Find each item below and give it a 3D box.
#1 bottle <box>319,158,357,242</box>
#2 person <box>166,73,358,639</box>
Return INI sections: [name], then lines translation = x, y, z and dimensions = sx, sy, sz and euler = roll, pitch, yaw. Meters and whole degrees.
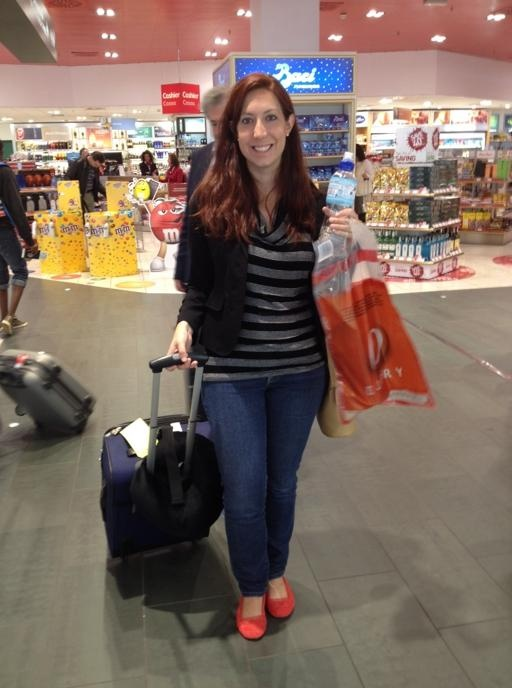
[bottle]
translation = 0.207, -0.383, 1.187
dimensions = 0.078, 0.227, 0.220
euler = 0, 9, 12
[person]
translation = 0.004, 0.103, 1.210
dimensions = 0.477, 1.448, 0.274
euler = -5, 10, -21
